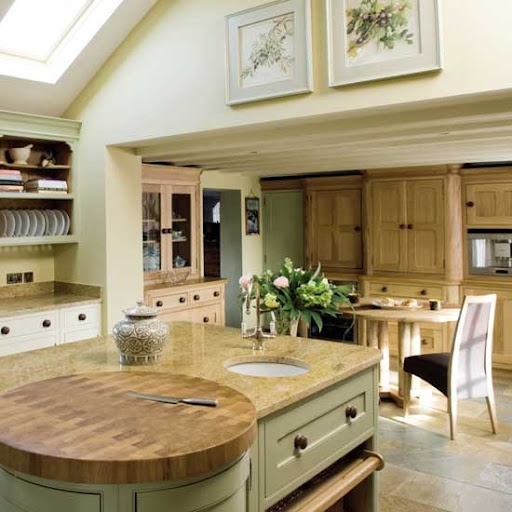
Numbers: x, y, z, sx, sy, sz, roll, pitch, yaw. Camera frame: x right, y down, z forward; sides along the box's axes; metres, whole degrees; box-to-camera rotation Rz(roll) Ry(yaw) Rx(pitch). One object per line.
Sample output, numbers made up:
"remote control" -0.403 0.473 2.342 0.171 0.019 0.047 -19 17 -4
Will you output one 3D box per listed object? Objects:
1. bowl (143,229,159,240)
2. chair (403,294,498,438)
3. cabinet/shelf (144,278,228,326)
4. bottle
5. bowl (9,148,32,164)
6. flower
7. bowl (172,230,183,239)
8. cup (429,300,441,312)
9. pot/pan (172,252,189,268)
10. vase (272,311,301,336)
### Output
"bowl" -1.133 -0.232 4.937 0.136 0.060 0.188 0 -2 -24
"chair" 1.555 0.828 3.647 0.487 1.119 0.544 1 1 -28
"cabinet/shelf" -0.723 0.445 4.667 0.273 0.547 0.666 1 3 42
"bottle" -0.441 0.304 1.909 0.252 0.258 0.252 1 1 41
"bowl" -1.986 -0.845 3.964 0.160 0.148 0.181 -1 -4 9
"flower" 0.129 0.191 2.470 0.526 0.307 0.507 -1 4 -38
"bowl" -0.902 -0.245 5.300 0.086 0.090 0.151 0 3 33
"cup" 1.524 0.425 3.965 0.072 0.066 0.104 0 -1 3
"pot/pan" -0.867 0.061 5.344 0.108 0.162 0.181 -6 -9 32
"vase" 0.151 0.355 2.426 0.160 0.169 0.138 0 -3 -4
